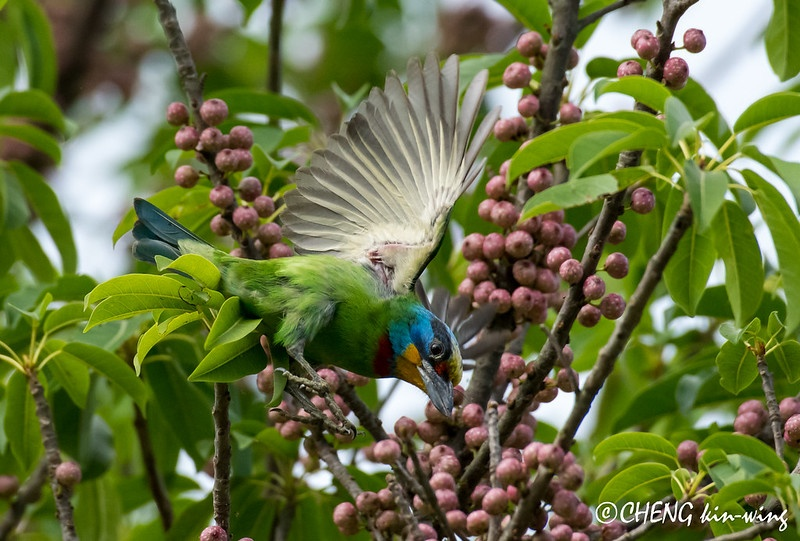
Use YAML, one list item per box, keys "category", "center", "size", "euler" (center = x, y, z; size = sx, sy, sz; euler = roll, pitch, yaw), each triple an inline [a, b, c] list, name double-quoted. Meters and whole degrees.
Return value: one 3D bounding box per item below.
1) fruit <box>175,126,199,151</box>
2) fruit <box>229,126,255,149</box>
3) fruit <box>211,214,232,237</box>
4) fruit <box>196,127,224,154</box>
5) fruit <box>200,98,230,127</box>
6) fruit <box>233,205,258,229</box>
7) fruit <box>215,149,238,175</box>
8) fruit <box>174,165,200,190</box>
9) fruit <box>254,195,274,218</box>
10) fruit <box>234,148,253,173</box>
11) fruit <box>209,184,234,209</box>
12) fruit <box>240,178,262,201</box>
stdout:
- category: "fruit"
  center: [-1.056, -0.647, 5.386]
  size: [0.102, 0.117, 0.107]
  euler: [-4, 19, 41]
- category: "fruit"
  center: [-0.805, -0.658, 5.474]
  size: [0.101, 0.132, 0.112]
  euler: [-9, -33, 5]
- category: "fruit"
  center: [-0.927, -0.235, 5.588]
  size: [0.081, 0.104, 0.080]
  euler: [-31, 11, -40]
- category: "fruit"
  center: [-0.946, -0.641, 5.340]
  size: [0.118, 0.109, 0.072]
  euler: [-25, 5, 22]
- category: "fruit"
  center: [-0.922, -0.778, 5.335]
  size: [0.113, 0.134, 0.138]
  euler: [21, -23, -22]
- category: "fruit"
  center: [-0.786, -0.259, 5.473]
  size: [0.104, 0.117, 0.107]
  euler: [23, -17, -23]
- category: "fruit"
  center: [-0.867, -0.541, 5.373]
  size: [0.116, 0.097, 0.092]
  euler: [-9, -18, -3]
- category: "fruit"
  center: [-1.110, -0.475, 5.592]
  size: [0.109, 0.108, 0.135]
  euler: [-34, -37, -36]
- category: "fruit"
  center: [-0.699, -0.324, 5.520]
  size: [0.093, 0.127, 0.101]
  euler: [-1, 1, 2]
- category: "fruit"
  center: [-0.779, -0.554, 5.400]
  size: [0.082, 0.115, 0.092]
  euler: [0, 3, 8]
- category: "fruit"
  center: [-0.890, -0.364, 5.376]
  size: [0.099, 0.108, 0.109]
  euler: [17, -47, 0]
- category: "fruit"
  center: [-0.778, -0.408, 5.603]
  size: [0.099, 0.139, 0.109]
  euler: [4, -3, -16]
